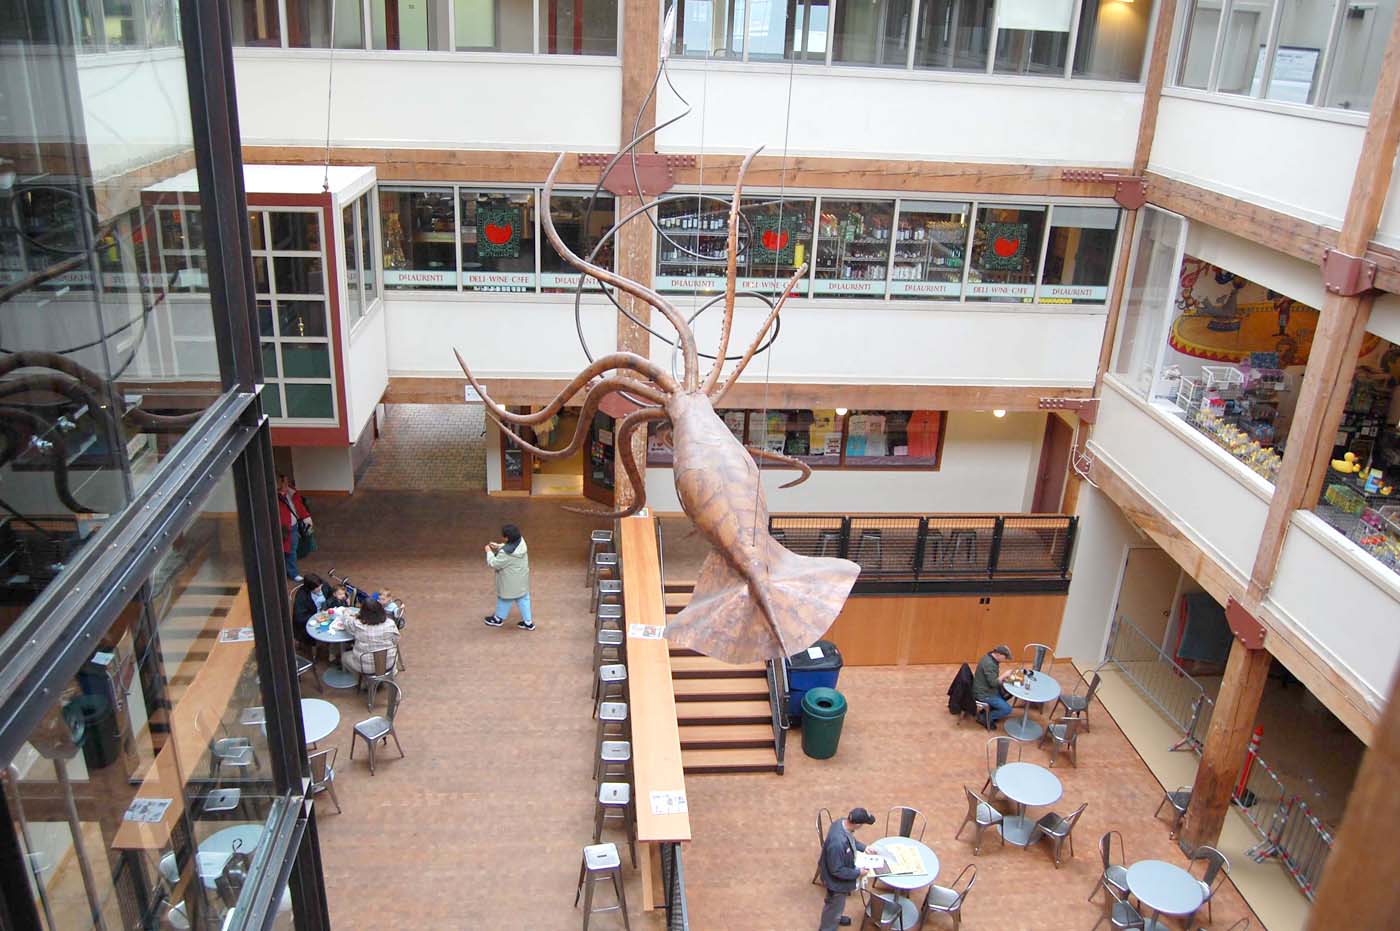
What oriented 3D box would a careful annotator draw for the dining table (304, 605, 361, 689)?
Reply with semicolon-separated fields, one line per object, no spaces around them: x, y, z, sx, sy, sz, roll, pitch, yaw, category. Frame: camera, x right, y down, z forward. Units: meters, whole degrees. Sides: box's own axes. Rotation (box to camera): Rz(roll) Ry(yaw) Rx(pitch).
-6.335;3.134;16.819;1.107;1.009;1.066;7;28;4;dining table

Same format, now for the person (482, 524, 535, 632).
-3.642;2.130;18.682;0.947;2.065;0.743;3;22;-3;person

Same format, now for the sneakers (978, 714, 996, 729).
5.522;4.908;18.653;0.304;0.110;0.285;32;50;-8;sneakers

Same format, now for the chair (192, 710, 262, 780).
-4.107;2.467;8.495;0.442;0.618;0.381;3;58;-7;chair

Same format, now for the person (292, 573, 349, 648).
-6.732;2.550;17.377;0.944;1.070;0.979;9;5;12;person

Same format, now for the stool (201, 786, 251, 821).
-4.046;2.874;8.317;0.342;0.231;0.382;-7;21;-19;stool

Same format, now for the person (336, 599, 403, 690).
-5.637;3.071;16.515;1.012;1.876;1.034;-13;44;-28;person
